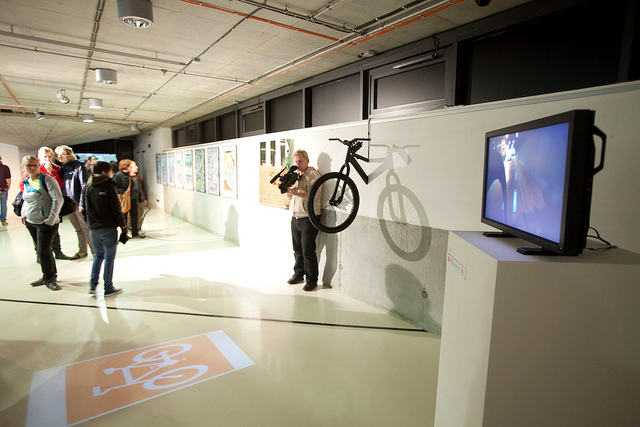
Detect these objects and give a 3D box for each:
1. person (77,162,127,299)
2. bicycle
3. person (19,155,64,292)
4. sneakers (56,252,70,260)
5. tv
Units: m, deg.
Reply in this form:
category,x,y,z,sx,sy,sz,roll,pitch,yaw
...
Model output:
category,x,y,z,sx,sy,sz,roll,pitch,yaw
person,-2.805,0.206,5.300,0.549,1.754,0.329,0,6,-8
bicycle,0.250,-0.330,5.371,0.763,1.336,0.766,1,6,1
person,-3.761,0.129,5.495,0.597,1.792,0.376,5,6,31
sneakers,-4.362,0.729,6.831,0.258,0.099,0.086,12,23,-39
tv,1.533,-0.178,2.738,0.581,0.967,1.127,-1,3,-4
